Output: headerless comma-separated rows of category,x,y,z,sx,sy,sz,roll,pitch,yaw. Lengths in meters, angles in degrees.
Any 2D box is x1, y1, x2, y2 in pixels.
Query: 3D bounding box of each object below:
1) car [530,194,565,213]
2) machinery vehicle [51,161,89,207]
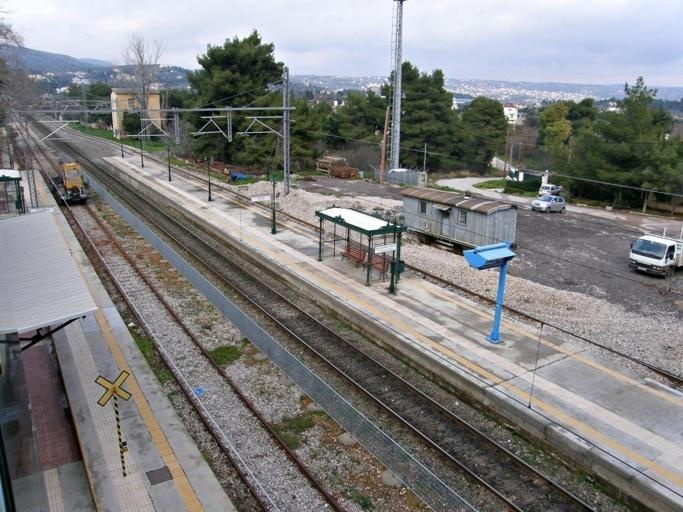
car,16.930,-4.138,41.314,2.218,0.929,1.421,-7,14,-40
machinery vehicle,-20.936,-5.646,39.614,1.933,3.116,3.226,-9,21,-33
